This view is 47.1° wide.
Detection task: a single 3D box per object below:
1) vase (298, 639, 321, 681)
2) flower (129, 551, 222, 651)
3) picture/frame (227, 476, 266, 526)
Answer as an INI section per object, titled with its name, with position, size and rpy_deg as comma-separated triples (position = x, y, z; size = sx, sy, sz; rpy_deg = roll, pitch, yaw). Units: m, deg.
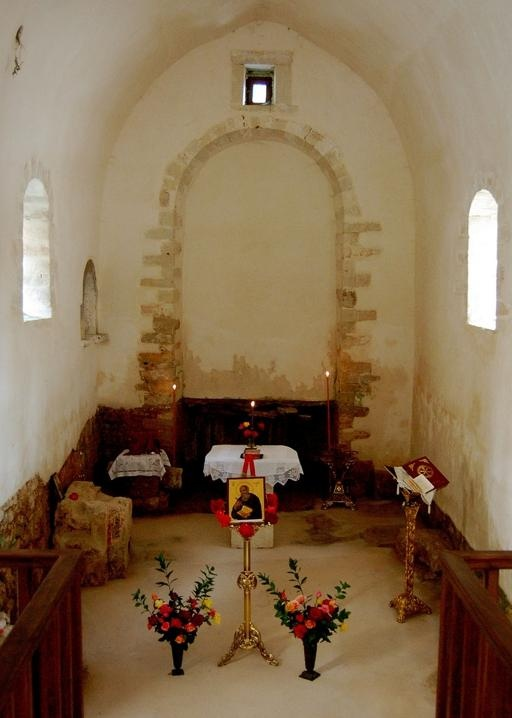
[vase]
position = 0.346, 1.868, 3.784
size = 0.128, 0.304, 0.307
rpy_deg = 0, 3, 8
[flower]
position = -0.620, 1.843, 4.450
size = 0.670, 0.858, 0.748
rpy_deg = 0, 8, -2
[picture/frame]
position = -0.072, 0.936, 3.853
size = 0.308, 0.373, 0.051
rpy_deg = 0, -9, -3
